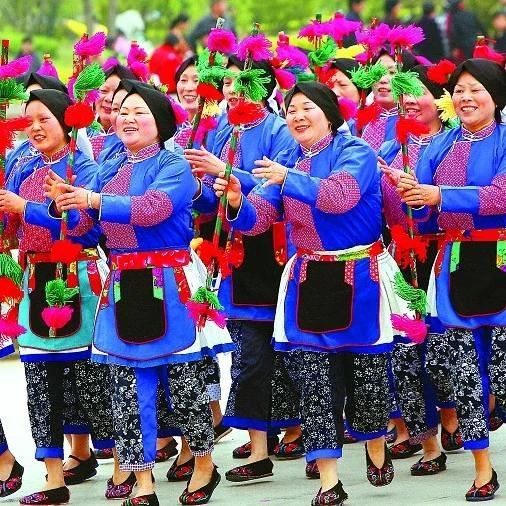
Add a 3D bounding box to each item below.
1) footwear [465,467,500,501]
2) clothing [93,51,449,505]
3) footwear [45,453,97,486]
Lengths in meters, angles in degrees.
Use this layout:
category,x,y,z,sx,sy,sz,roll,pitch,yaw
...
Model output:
category,x,y,z,sx,sy,sz,roll,pitch,yaw
footwear,0.963,0.980,3.113,0.071,0.059,0.182,-7,-3,35
clothing,0.381,0.089,3.146,0.931,1.849,0.577,-8,-5,-2
footwear,-0.891,1.103,3.751,0.099,0.066,0.193,-14,-9,24
